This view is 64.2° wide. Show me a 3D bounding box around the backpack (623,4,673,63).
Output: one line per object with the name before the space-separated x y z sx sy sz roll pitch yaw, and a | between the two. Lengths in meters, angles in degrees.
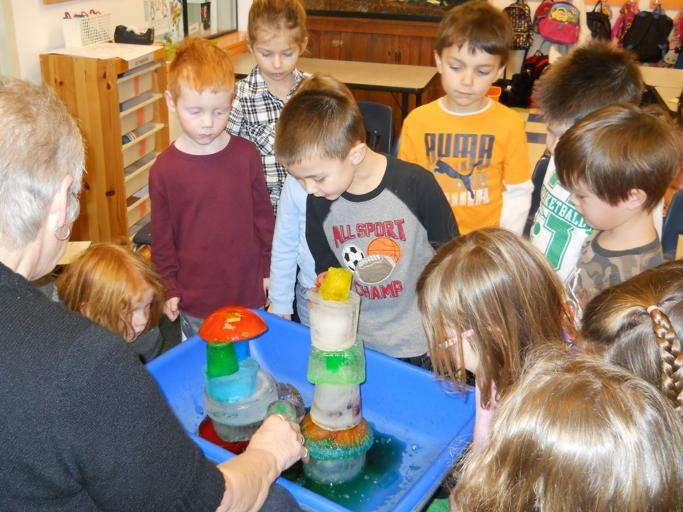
backpack | 3.011 -2.150 5.298 0.462 0.511 0.271 -4 25 -7

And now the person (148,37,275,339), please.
person | -0.438 0.006 2.128 0.514 1.556 0.329 -2 27 -7

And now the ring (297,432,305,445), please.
ring | -0.099 0.447 1.343 0.012 0.034 0.024 -13 -2 -23
